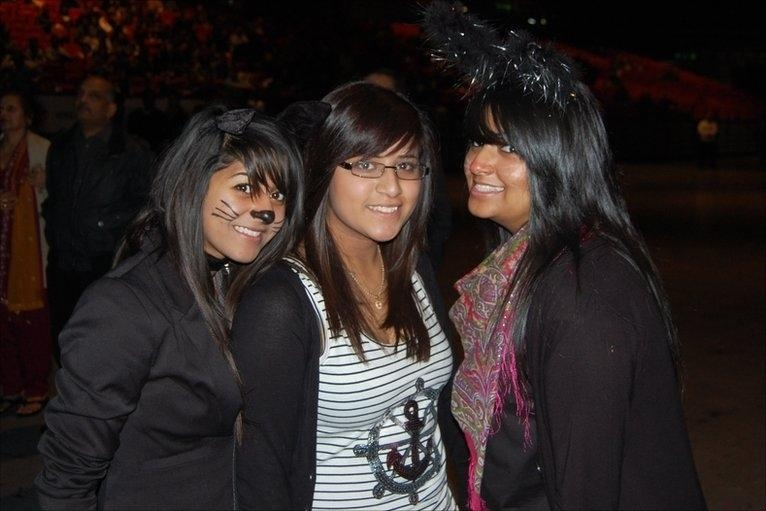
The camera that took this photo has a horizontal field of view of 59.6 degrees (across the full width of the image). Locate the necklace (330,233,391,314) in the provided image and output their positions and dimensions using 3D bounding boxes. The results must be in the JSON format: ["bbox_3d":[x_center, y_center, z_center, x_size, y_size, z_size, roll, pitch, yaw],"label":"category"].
[{"bbox_3d":[-0.117,0.123,3.329,0.247,0.410,0.097,7,-36,-36],"label":"necklace"}]
